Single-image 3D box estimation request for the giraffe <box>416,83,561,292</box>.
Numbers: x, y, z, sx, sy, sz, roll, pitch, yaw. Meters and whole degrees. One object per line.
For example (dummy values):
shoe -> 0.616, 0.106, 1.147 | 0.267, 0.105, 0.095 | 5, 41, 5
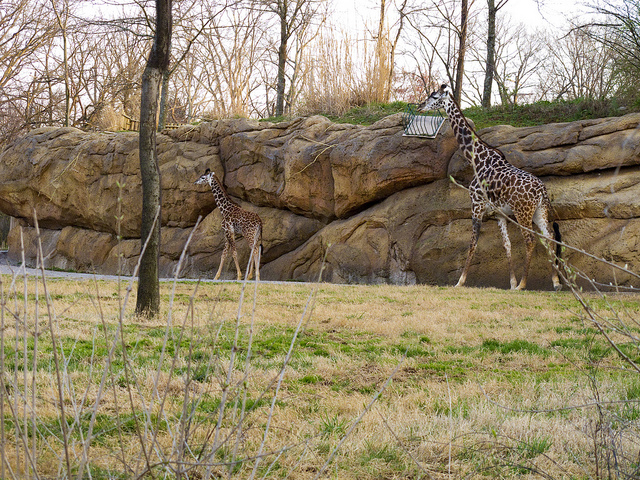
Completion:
giraffe -> 4.363, -1.235, 22.882 | 2.597, 5.049, 3.198 | 3, 1, -19
